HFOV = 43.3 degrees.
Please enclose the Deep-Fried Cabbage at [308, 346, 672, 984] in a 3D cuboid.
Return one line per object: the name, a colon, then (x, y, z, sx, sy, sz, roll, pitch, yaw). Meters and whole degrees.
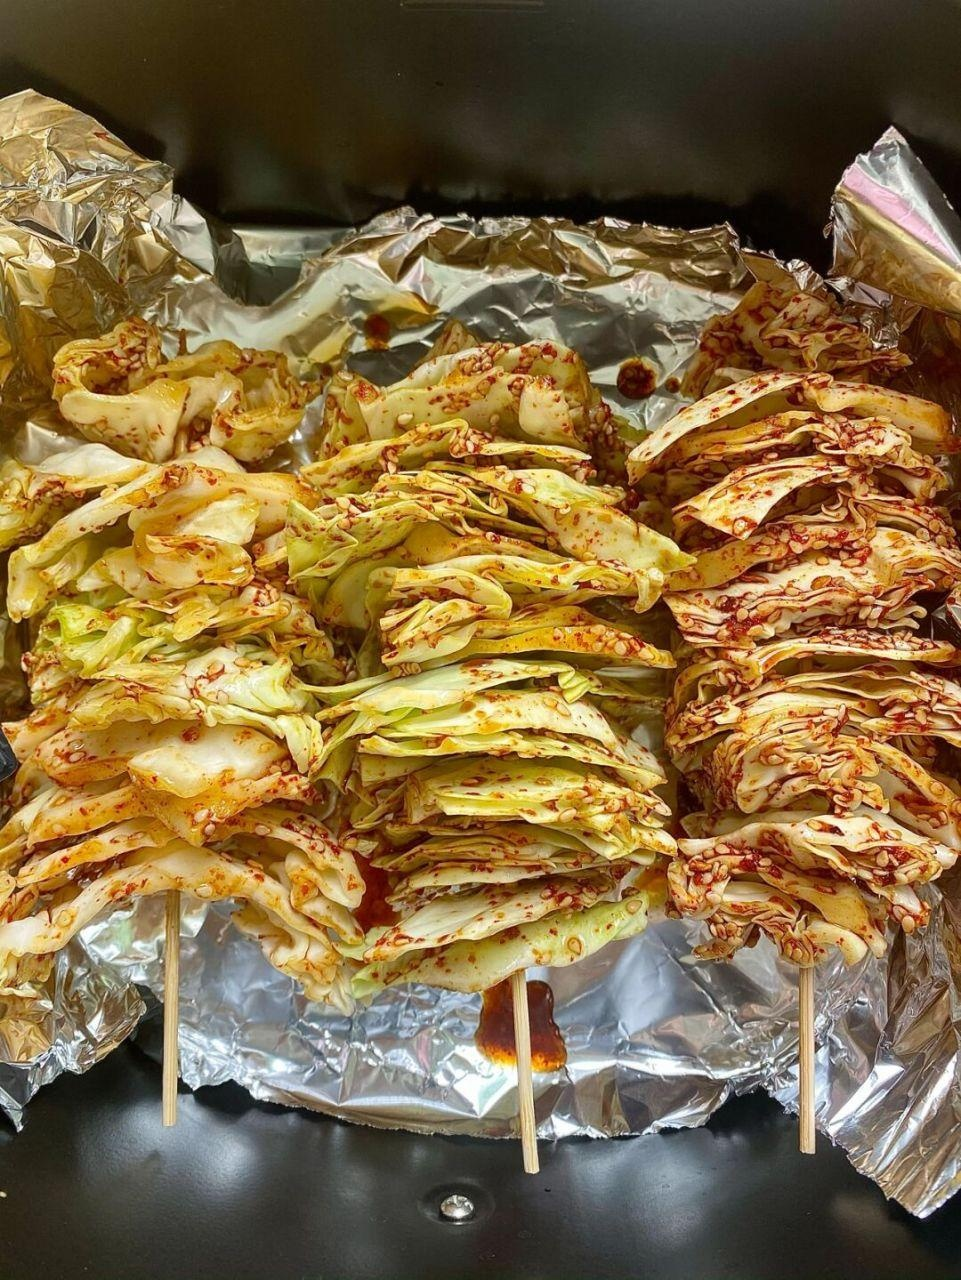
Deep-Fried Cabbage: (0.008, 0.042, 1.516, 0.504, 0.811, 0.395, 4, 19, 5)
